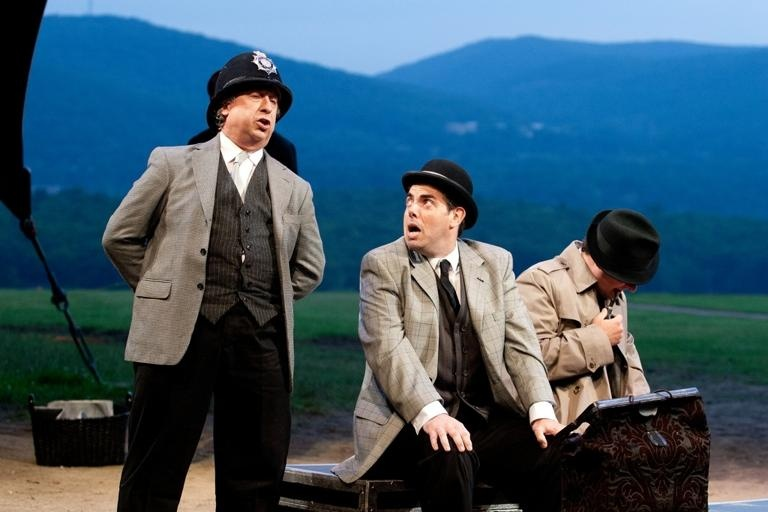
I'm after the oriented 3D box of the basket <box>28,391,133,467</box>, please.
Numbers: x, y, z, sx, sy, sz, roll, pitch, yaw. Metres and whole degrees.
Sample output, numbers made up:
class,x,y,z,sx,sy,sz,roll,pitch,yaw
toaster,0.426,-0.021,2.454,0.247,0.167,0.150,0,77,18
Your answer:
class,x,y,z,sx,sy,sz,roll,pitch,yaw
basket,-11.658,6.632,57.841,3.516,2.319,2.871,1,-6,-8
